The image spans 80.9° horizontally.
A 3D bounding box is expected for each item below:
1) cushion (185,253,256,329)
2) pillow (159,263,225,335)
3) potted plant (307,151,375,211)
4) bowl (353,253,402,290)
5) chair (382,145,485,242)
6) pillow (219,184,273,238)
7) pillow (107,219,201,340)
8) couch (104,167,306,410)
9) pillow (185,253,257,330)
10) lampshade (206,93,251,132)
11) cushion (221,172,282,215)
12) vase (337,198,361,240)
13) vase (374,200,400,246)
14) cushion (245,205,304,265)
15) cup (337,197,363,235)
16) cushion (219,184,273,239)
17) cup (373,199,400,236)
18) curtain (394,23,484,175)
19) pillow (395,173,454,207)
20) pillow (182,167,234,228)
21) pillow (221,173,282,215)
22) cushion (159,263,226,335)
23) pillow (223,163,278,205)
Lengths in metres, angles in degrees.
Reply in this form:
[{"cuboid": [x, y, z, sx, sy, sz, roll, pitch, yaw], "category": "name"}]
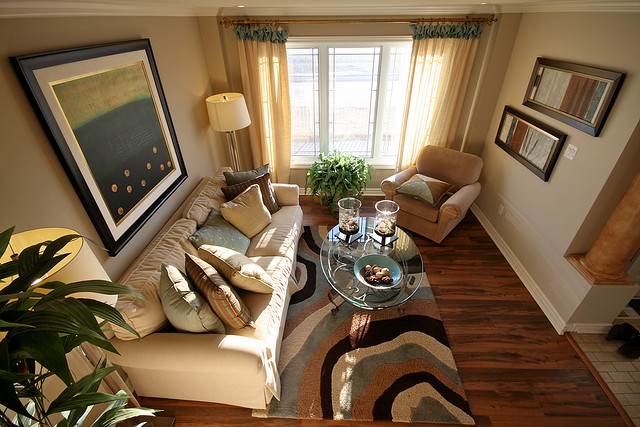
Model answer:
[{"cuboid": [-0.911, 0.699, 3.416, 0.457, 0.481, 0.828, -7, 26, -44], "category": "cushion"}, {"cuboid": [-1.007, 0.650, 3.153, 0.173, 0.576, 0.538, -36, 61, -13], "category": "pillow"}, {"cuboid": [0.287, -0.432, 5.024, 0.772, 0.568, 0.703, 9, 18, 18], "category": "potted plant"}, {"cuboid": [0.545, 0.531, 3.609, 0.391, 0.398, 0.114, 43, 28, 10], "category": "bowl"}, {"cuboid": [1.428, -0.289, 4.916, 1.185, 0.935, 1.143, 15, 31, 16], "category": "chair"}, {"cuboid": [-0.767, -0.008, 4.218, 0.274, 0.486, 0.556, 20, 47, 29], "category": "pillow"}, {"cuboid": [-1.371, 0.596, 3.379, 0.632, 0.265, 0.904, 28, 64, 29], "category": "pillow"}, {"cuboid": [-0.912, 0.583, 4.132, 1.374, 1.096, 2.765, 0, 32, 2], "category": "couch"}, {"cuboid": [-0.924, 0.685, 3.428, 0.464, 0.491, 0.867, -5, 24, -44], "category": "pillow"}, {"cuboid": [-1.088, -1.181, 4.638, 0.529, 0.407, 0.518, -1, 45, 1], "category": "lampshade"}, {"cuboid": [-0.808, -0.219, 4.267, 0.144, 0.302, 0.422, 11, 35, 45], "category": "cushion"}, {"cuboid": [0.319, 0.070, 4.080, 0.321, 0.460, 0.300, -6, 41, -5], "category": "vase"}, {"cuboid": [0.718, 0.114, 4.034, 0.303, 0.449, 0.294, -19, 43, -20], "category": "vase"}, {"cuboid": [-0.472, 0.252, 4.113, 0.470, 0.209, 0.814, 10, 43, 5], "category": "cushion"}, {"cuboid": [0.325, 0.032, 4.136, 0.289, 0.357, 0.266, -3, 36, 2], "category": "cup"}, {"cuboid": [-0.776, -0.001, 4.224, 0.275, 0.480, 0.557, 14, 40, 28], "category": "cushion"}, {"cuboid": [0.665, 0.075, 4.078, 0.333, 0.369, 0.349, 0, 39, 0], "category": "cup"}, {"cuboid": [1.553, -1.545, 5.032, 0.976, 2.238, 0.294, 2, 48, 6], "category": "curtain"}, {"cuboid": [1.317, -0.329, 4.750, 0.584, 0.229, 0.502, 22, 37, 30], "category": "pillow"}, {"cuboid": [-1.237, -0.157, 4.135, 0.235, 0.275, 0.703, 21, 45, 0], "category": "pillow"}, {"cuboid": [-0.803, -0.240, 4.356, 0.231, 0.467, 0.663, 5, 5, 40], "category": "pillow"}, {"cuboid": [-1.058, 0.628, 3.203, 0.177, 0.581, 0.546, -36, 41, -16], "category": "cushion"}, {"cuboid": [-0.919, -0.415, 4.535, 0.644, 0.661, 0.198, -30, 87, -38], "category": "pillow"}]
